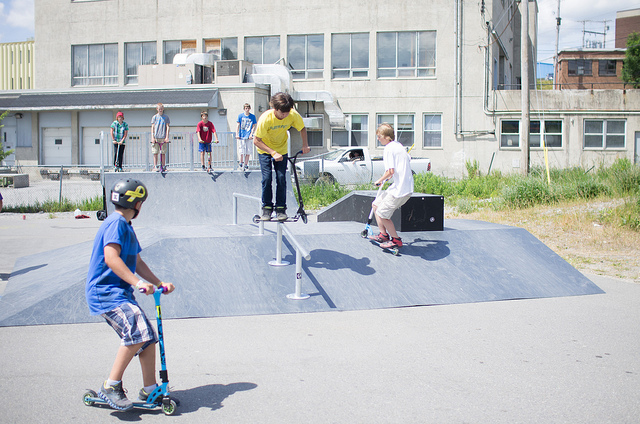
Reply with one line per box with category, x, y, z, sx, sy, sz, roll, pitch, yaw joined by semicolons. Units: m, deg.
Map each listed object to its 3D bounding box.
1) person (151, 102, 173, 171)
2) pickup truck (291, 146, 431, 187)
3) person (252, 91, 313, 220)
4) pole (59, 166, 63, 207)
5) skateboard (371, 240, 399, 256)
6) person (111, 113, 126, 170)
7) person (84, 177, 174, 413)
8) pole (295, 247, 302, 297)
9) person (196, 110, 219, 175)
person;-4.654;-2.200;19.043;0.536;1.966;0.508;-3;5;-14
pickup truck;1.672;-1.817;24.904;5.219;1.391;3.804;-2;5;-2
person;-0.771;-1.065;12.451;0.952;2.407;0.916;-2;5;-6
pole;-8.949;-0.861;22.573;0.132;1.375;0.656;-3;6;-22
skateboard;1.291;0.667;12.874;0.587;0.274;0.187;23;4;9
person;-6.067;-2.156;19.757;0.436;1.706;0.494;-3;5;-18
person;-2.713;1.202;9.122;0.956;3.306;0.717;-4;6;-28
pole;-0.404;1.087;11.705;0.128;0.957;0.481;-2;5;-3
person;-3.292;-2.109;19.261;0.592;1.687;0.504;-4;6;-30
